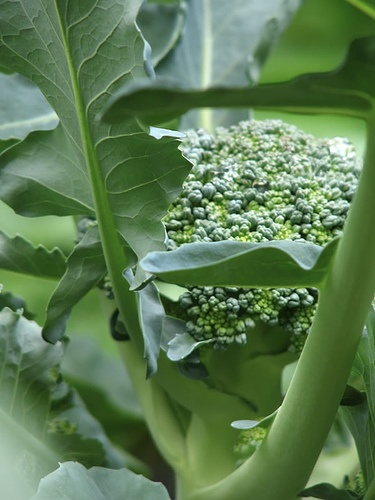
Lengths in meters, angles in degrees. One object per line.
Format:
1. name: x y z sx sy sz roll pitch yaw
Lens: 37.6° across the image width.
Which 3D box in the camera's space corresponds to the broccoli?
1. broccoli: 0.064 -0.032 0.649 0.293 0.262 0.266 0 15 -11
